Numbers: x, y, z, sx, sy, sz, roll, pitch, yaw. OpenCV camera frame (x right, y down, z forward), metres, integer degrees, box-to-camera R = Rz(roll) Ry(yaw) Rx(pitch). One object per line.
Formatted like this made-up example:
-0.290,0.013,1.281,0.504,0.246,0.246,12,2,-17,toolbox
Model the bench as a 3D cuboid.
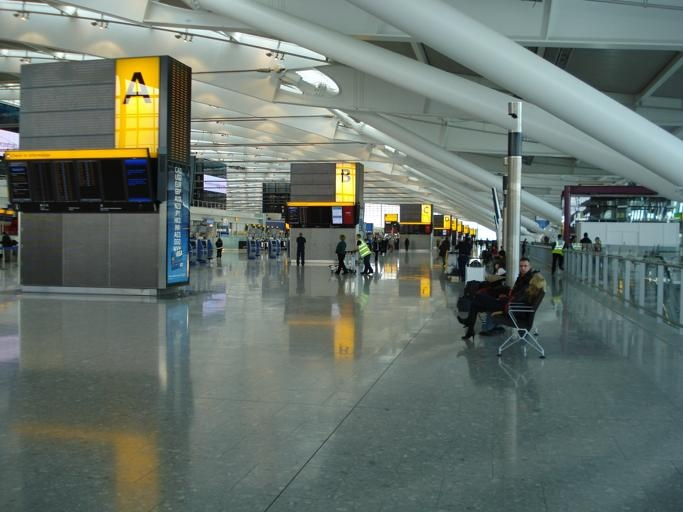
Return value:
3.012,1.161,9.800,1.141,1.278,1.029,0,-2,7,bench
